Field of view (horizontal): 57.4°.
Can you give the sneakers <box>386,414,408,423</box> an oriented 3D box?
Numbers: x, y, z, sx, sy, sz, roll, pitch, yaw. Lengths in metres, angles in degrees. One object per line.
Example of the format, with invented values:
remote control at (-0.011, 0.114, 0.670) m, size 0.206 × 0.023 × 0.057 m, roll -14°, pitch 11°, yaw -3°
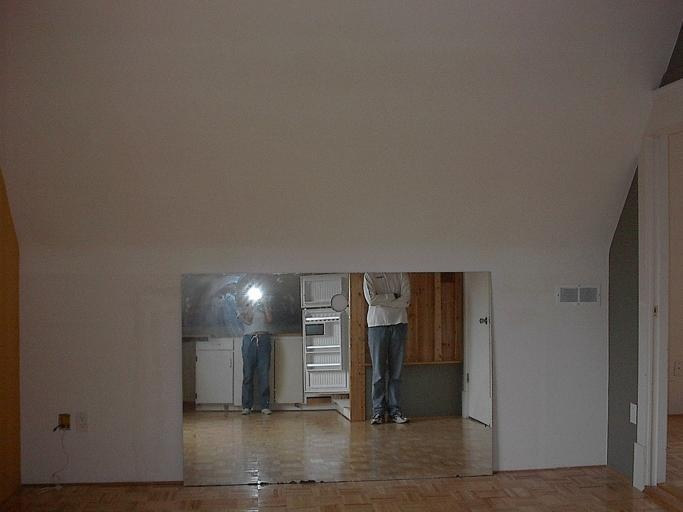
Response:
sneakers at (0.455, 1.320, 5.116) m, size 0.179 × 0.089 × 0.072 m, roll 0°, pitch -4°, yaw 6°
